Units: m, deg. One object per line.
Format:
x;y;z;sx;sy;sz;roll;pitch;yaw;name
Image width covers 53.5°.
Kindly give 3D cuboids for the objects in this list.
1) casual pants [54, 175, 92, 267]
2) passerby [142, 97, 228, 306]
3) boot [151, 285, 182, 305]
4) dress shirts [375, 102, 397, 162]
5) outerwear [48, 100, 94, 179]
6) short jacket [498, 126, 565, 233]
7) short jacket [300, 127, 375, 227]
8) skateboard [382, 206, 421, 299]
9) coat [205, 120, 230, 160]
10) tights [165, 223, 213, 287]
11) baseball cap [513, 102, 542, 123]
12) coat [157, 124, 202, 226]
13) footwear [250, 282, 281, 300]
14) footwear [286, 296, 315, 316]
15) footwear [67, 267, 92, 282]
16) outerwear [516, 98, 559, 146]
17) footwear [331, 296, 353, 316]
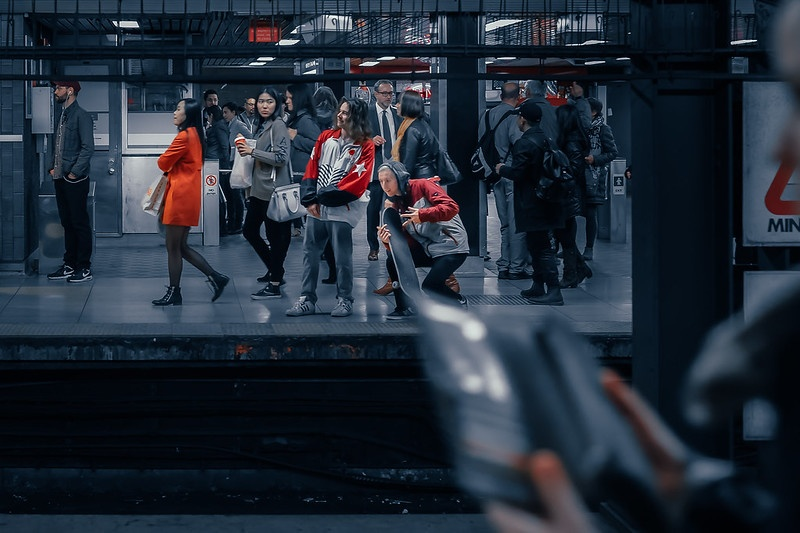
-3.962;-0.548;9.640;0.500;1.128;0.387;10;11;35;casual pants
-2.169;-0.678;8.308;0.874;2.127;0.571;3;2;-9;passerby
-2.374;0.279;8.105;0.285;0.196;0.177;-2;13;-14;boot
-0.186;-1.979;11.577;0.540;0.803;0.204;-6;20;-13;dress shirts
-3.908;-1.521;9.513;0.460;0.924;0.388;-4;13;-22;outerwear
1.353;-0.901;8.217;0.657;1.059;0.453;5;13;16;short jacket
-0.624;-0.857;7.611;0.684;0.911;0.485;7;14;26;short jacket
-0.021;-0.074;7.251;0.260;0.993;0.150;3;-31;-39;skateboard
-3.189;-2.251;14.082;0.487;0.765;0.844;-4;5;-25;coat
-2.226;-0.155;8.228;0.464;0.631;0.440;-9;16;-39;tights
1.337;-1.654;8.410;0.218;0.142;0.288;4;29;-20;baseball cap
-2.204;-0.917;8.117;0.482;1.013;0.369;-6;14;-28;coat
-1.482;0.256;8.550;0.411;0.173;0.130;1;3;-16;footwear
-0.944;0.366;7.650;0.349;0.187;0.222;-4;13;-23;footwear
-3.829;0.099;9.545;0.277;0.148;0.257;-5;14;-27;footwear
1.765;-1.890;9.909;0.427;0.813;0.593;0;35;13;outerwear
-0.560;0.376;7.625;0.200;0.173;0.254;0;12;-3;footwear
